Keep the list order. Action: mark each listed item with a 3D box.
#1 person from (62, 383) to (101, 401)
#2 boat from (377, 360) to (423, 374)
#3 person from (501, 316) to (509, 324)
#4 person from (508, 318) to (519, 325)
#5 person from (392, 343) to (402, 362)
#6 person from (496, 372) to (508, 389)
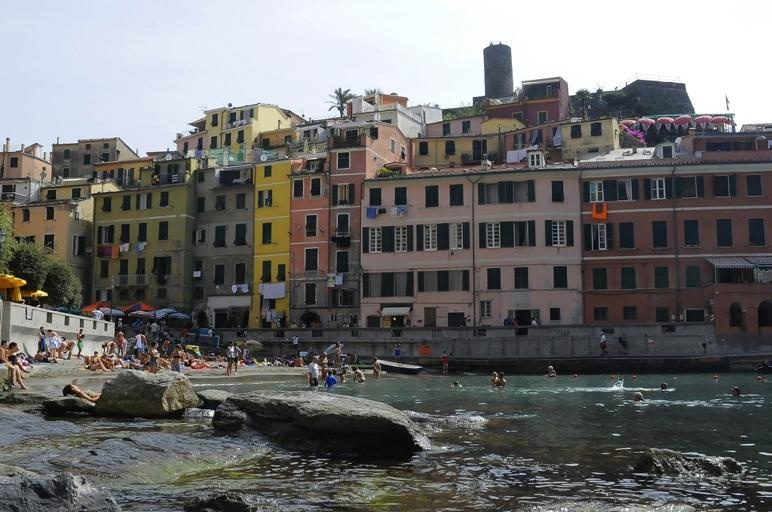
[{"bbox_3d":[-14.117,6.300,42.221,1.841,0.867,0.722,2,-5,9],"label":"person"},{"bbox_3d":[1.114,8.016,65.456,2.938,0.661,1.267,6,4,6],"label":"boat"},{"bbox_3d":[9.633,5.173,72.699,0.507,0.736,0.805,7,1,-14],"label":"person"},{"bbox_3d":[10.163,5.153,71.921,0.599,0.726,1.959,-1,-10,8],"label":"person"},{"bbox_3d":[0.904,7.376,70.500,0.707,1.338,0.480,-3,-13,17],"label":"person"},{"bbox_3d":[7.173,7.713,56.686,0.679,0.913,1.477,-1,-11,5],"label":"person"}]
